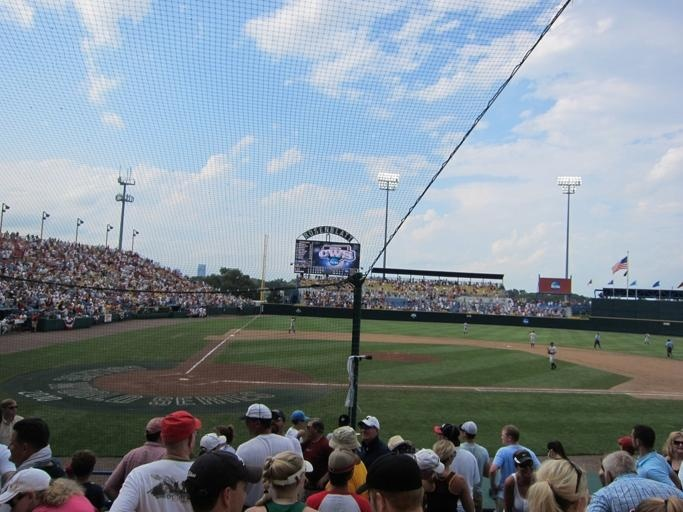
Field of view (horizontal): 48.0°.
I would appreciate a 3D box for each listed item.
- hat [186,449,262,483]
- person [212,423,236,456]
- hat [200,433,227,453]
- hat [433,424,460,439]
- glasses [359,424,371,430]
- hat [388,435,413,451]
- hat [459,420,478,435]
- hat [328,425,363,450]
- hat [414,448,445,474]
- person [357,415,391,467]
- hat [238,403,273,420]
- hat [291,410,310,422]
[{"bbox_3d":[-1.990,3.469,12.837,0.896,0.463,0.592,4,-4,-17],"label":"hat"},{"bbox_3d":[-2.401,3.731,15.964,0.480,0.790,0.406,0,-22,-25],"label":"person"},{"bbox_3d":[-2.494,3.642,15.069,0.388,0.303,0.586,2,7,39],"label":"hat"},{"bbox_3d":[2.067,3.561,15.537,0.319,0.260,0.479,-11,18,-36],"label":"hat"},{"bbox_3d":[0.460,3.507,15.769,0.171,0.126,0.285,-7,-25,12],"label":"glasses"},{"bbox_3d":[1.085,3.602,14.926,0.341,0.248,0.443,11,-22,-31],"label":"hat"},{"bbox_3d":[2.725,3.726,16.454,0.374,0.226,0.541,3,7,2],"label":"hat"},{"bbox_3d":[0.018,3.456,14.539,0.495,0.245,0.473,-3,5,-25],"label":"hat"},{"bbox_3d":[1.622,3.872,14.388,0.605,0.314,0.427,16,23,5],"label":"hat"},{"bbox_3d":[0.610,3.841,15.840,1.107,1.000,0.634,-16,-20,42],"label":"person"},{"bbox_3d":[-1.674,3.101,15.388,0.406,0.289,0.556,3,-3,-6],"label":"hat"},{"bbox_3d":[-0.903,3.609,17.099,0.395,0.229,0.289,6,3,-31],"label":"hat"}]
